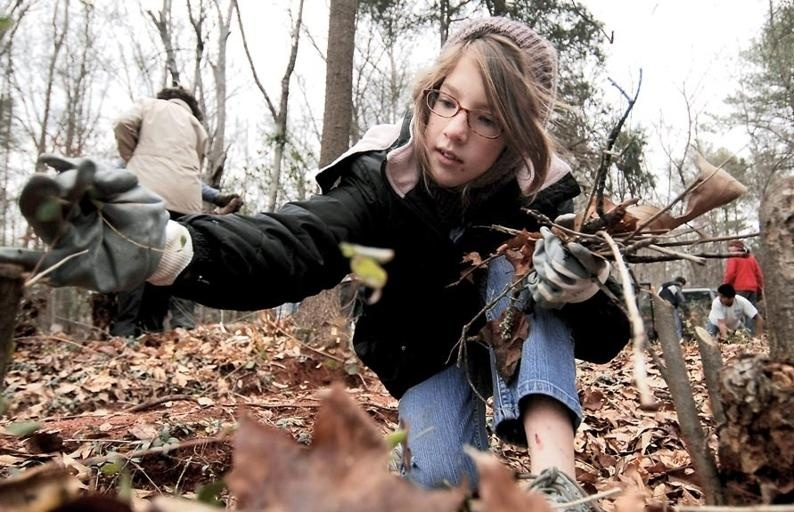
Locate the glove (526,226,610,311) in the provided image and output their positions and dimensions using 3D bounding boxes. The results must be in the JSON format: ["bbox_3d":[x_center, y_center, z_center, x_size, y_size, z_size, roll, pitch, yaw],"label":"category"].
[{"bbox_3d":[0.711,0.055,2.761,0.282,0.352,0.266,0,0,5],"label":"glove"}]

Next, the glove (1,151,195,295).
[{"bbox_3d":[-1.102,-0.111,2.421,0.647,0.491,0.226,0,0,-18],"label":"glove"}]

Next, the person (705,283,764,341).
[{"bbox_3d":[4.179,0.674,8.093,0.542,0.652,1.155,-1,0,26],"label":"person"}]
